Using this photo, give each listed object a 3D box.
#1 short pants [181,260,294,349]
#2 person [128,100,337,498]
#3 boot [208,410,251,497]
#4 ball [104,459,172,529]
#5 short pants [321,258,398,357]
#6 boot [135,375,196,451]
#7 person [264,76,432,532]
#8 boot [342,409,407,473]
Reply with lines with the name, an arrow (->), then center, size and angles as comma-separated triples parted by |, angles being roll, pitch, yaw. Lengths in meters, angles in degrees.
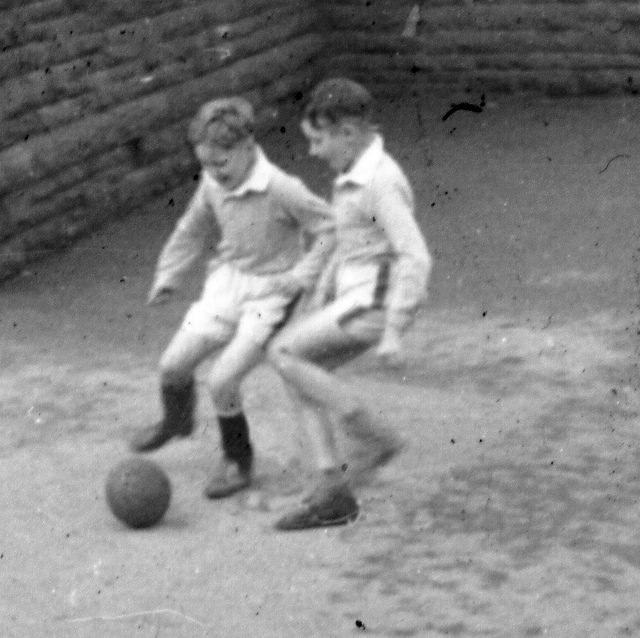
short pants -> -0.278, -0.061, 3.944 | 0.349, 0.296, 0.154 | 0, 19, 0
person -> -0.401, -0.091, 3.976 | 0.631, 1.260, 0.757 | 14, 24, 36
boot -> -0.326, 0.459, 3.914 | 0.131, 0.336, 0.196 | -1, 2, 22
ball -> -0.622, 0.600, 3.654 | 0.191, 0.133, 0.251 | -3, 39, -2
short pants -> 0.142, -0.084, 4.035 | 0.241, 0.356, 0.219 | 20, 30, 32
boot -> -0.564, 0.363, 3.948 | 0.176, 0.292, 0.165 | 13, 32, 17
person -> 0.112, -0.057, 4.135 | 0.656, 1.698, 0.484 | 3, 3, 13
boot -> 0.206, 0.442, 3.967 | 0.232, 0.149, 0.229 | -1, 19, -2
